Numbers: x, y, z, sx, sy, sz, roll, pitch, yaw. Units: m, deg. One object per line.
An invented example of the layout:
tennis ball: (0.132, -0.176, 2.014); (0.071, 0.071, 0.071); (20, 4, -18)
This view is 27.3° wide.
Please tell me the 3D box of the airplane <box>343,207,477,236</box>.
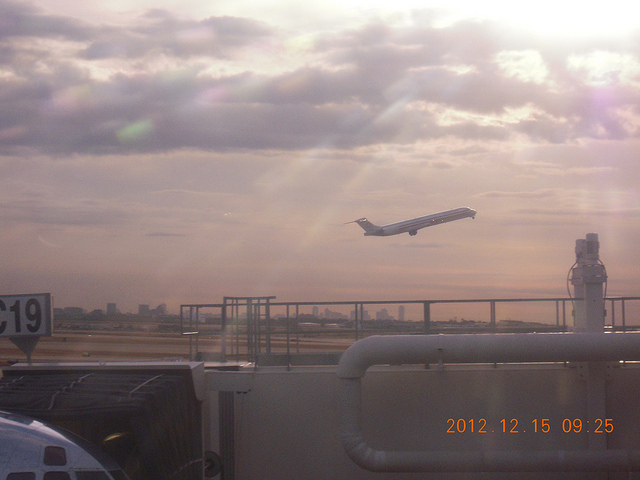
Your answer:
airplane: (6.321, -1.091, 89.759); (7.422, 2.026, 17.079); (-1, -2, 1)
